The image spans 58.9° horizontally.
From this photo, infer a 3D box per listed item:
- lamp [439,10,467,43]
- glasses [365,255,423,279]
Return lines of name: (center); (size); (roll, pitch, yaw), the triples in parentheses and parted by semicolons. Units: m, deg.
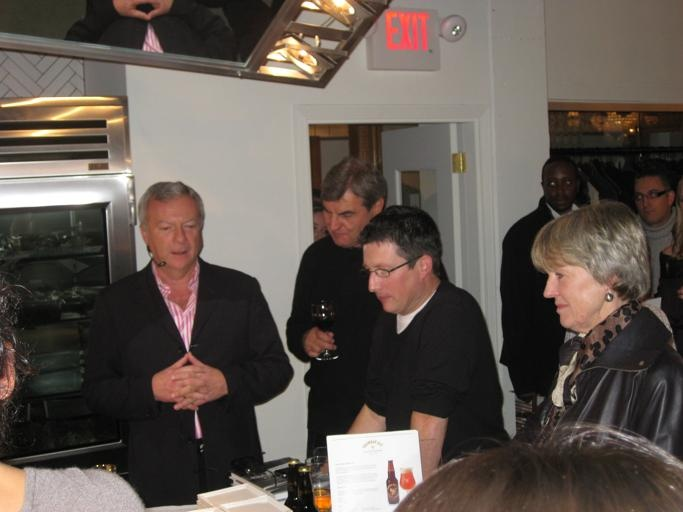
lamp: (0.652, -1.351, 3.565); (0.141, 0.155, 0.135); (-2, 16, -12)
glasses: (0.194, 0.039, 2.170); (0.105, 0.030, 0.103); (-19, 7, -29)
